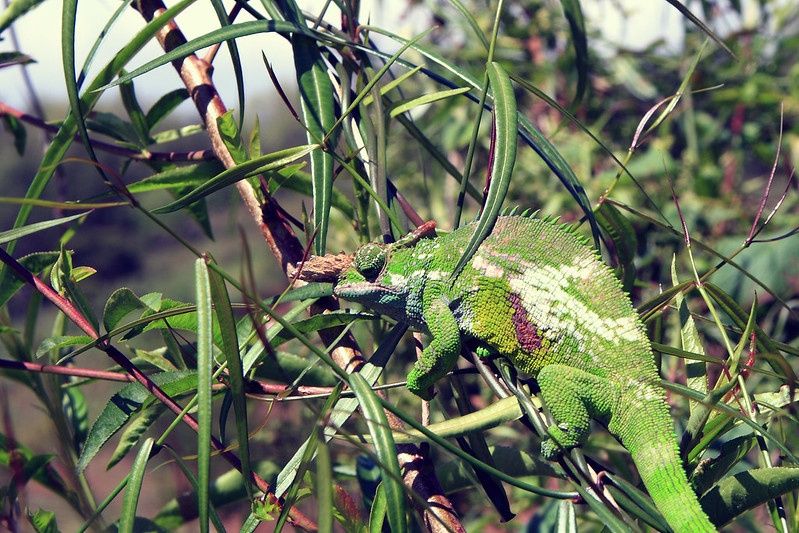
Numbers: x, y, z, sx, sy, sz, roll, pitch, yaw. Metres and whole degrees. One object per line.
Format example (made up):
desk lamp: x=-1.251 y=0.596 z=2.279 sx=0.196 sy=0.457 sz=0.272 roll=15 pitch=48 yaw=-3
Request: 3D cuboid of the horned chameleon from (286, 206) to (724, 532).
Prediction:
horned chameleon: x=0.268 y=0.217 z=2.209 sx=0.802 sy=0.637 sz=0.257 roll=0 pitch=13 yaw=18
